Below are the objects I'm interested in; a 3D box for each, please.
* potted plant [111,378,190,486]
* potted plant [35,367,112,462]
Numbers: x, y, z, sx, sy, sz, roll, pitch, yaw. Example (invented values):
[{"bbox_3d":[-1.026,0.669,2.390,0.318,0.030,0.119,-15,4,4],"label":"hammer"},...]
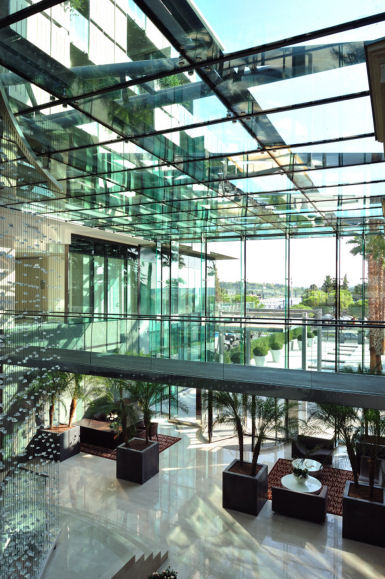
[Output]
[{"bbox_3d":[-1.195,3.047,11.209,1.022,1.918,1.754,0,0,-7],"label":"potted plant"},{"bbox_3d":[-3.346,3.047,12.662,1.510,2.230,1.856,-4,-10,39],"label":"potted plant"}]
